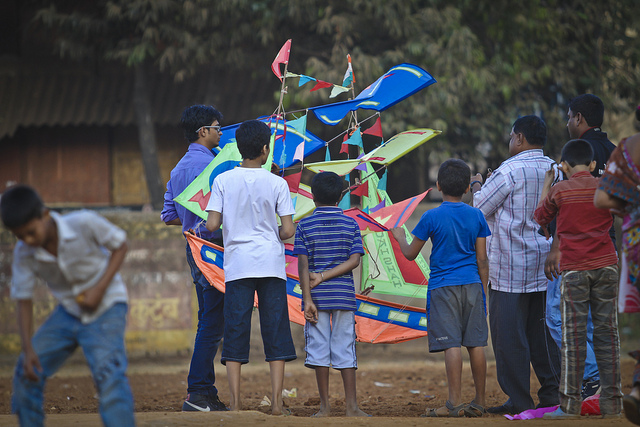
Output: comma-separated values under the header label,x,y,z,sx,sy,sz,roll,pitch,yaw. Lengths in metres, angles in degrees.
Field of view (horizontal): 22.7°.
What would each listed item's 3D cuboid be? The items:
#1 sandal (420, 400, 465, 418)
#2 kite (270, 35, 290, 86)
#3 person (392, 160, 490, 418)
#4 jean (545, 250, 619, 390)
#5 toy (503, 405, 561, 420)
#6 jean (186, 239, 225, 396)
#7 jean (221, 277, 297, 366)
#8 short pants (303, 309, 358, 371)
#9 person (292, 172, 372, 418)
label,x,y,z,sx,sy,sz,roll,pitch,yaw
sandal,1.562,2.546,20.294,0.558,0.288,0.220,1,-7,21
kite,-0.522,-2.059,21.038,0.257,0.108,0.874,35,-36,24
person,1.694,0.972,20.286,0.895,3.250,0.355,-2,-5,8
jean,3.352,1.266,20.223,0.721,0.641,1.876,2,-31,11
toy,2.660,2.557,20.086,0.640,0.121,0.261,-18,-5,10
jean,-1.464,1.365,20.547,0.519,2.017,0.434,-2,-5,4
jean,-0.799,1.242,20.206,0.980,1.483,0.469,1,34,2
short pants,0.138,1.621,20.275,0.579,0.984,0.302,0,1,-2
person,0.130,1.044,20.301,0.852,3.108,0.326,-2,-5,2
